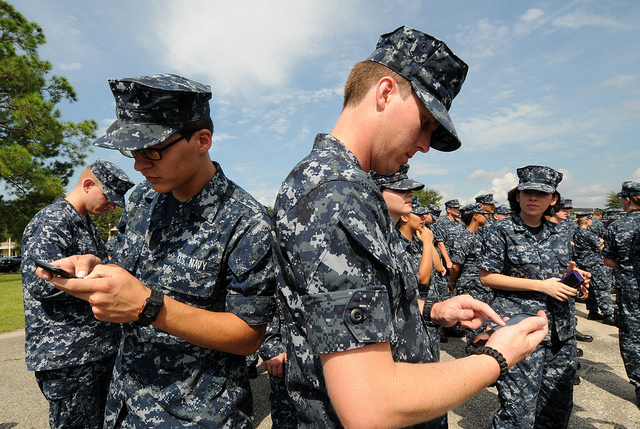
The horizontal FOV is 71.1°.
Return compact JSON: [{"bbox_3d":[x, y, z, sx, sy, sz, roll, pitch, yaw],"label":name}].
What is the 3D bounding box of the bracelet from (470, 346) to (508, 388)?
[{"bbox_3d":[1.326,1.199,3.481,0.273,0.380,0.273,0,4,21],"label":"bracelet"}]
